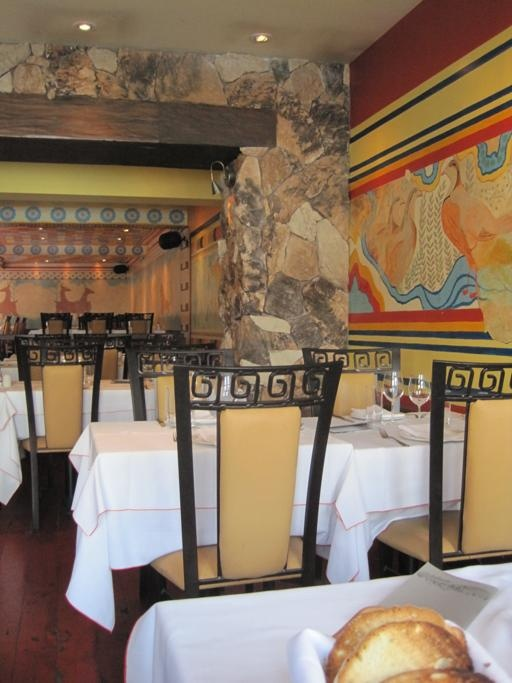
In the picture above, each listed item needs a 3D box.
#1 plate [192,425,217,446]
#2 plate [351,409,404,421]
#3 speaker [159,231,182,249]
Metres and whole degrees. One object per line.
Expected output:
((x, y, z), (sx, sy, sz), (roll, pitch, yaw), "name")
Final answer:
((-0.163, 0.304, 1.704), (0.089, 0.038, 0.121), (2, 7, -11), "plate")
((0.497, 0.306, 2.206), (0.100, 0.034, 0.099), (3, -3, -32), "plate")
((-1.672, -1.910, 10.371), (0.379, 0.382, 0.454), (-6, -6, 19), "speaker")
